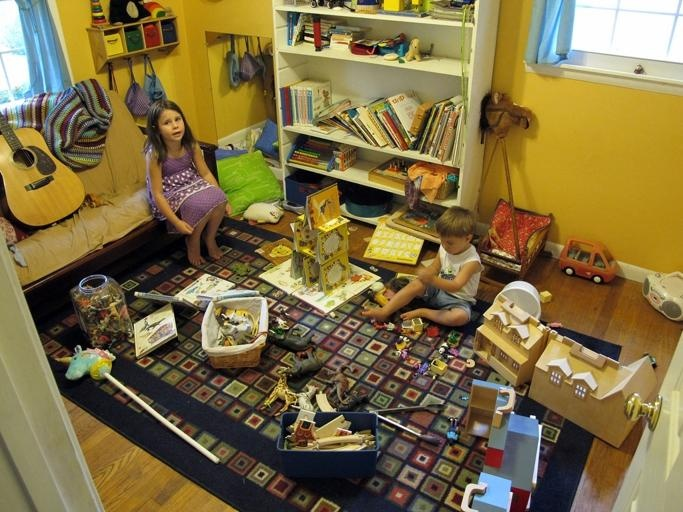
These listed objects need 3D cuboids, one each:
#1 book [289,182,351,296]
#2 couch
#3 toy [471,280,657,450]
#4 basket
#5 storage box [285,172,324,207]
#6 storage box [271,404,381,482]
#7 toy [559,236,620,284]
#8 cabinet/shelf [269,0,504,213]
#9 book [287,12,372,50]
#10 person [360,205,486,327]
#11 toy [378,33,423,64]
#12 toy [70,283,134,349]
[{"bbox_3d":[-0.134,-0.090,3.147,0.414,0.779,0.362,-34,49,-31],"label":"book"},{"bbox_3d":[-1.506,-0.393,3.154,0.617,0.640,1.259,22,50,31],"label":"couch"},{"bbox_3d":[1.129,0.532,2.503,0.406,0.333,0.776,-17,32,-29],"label":"toy"},{"bbox_3d":[-0.588,0.411,2.693,0.374,0.160,0.435,4,33,3],"label":"basket"},{"bbox_3d":[-0.271,-0.594,3.969,0.319,0.191,0.317,23,40,31],"label":"storage box"},{"bbox_3d":[-0.050,0.808,2.117,0.424,0.165,0.262,1,36,3],"label":"storage box"},{"bbox_3d":[1.650,0.016,3.288,0.392,0.263,0.242,12,44,23],"label":"toy"},{"bbox_3d":[0.366,-1.105,3.425,1.332,1.292,0.447,19,40,20],"label":"cabinet/shelf"},{"bbox_3d":[-0.180,-1.668,3.547,0.332,0.186,0.445,17,30,29],"label":"book"},{"bbox_3d":[0.486,0.080,2.808,0.713,0.684,0.482,-5,22,-9],"label":"person"},{"bbox_3d":[0.419,-1.429,3.292,0.295,0.143,0.298,-2,31,-7],"label":"toy"},{"bbox_3d":[-1.365,0.349,2.742,0.192,0.345,0.203,-15,36,-15],"label":"toy"}]
